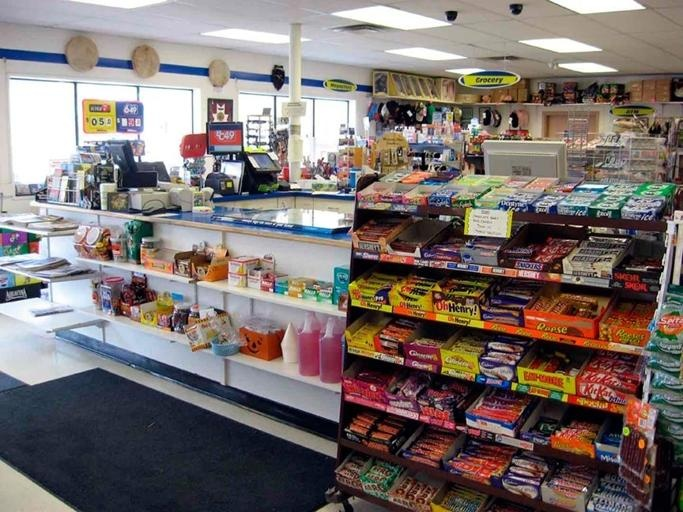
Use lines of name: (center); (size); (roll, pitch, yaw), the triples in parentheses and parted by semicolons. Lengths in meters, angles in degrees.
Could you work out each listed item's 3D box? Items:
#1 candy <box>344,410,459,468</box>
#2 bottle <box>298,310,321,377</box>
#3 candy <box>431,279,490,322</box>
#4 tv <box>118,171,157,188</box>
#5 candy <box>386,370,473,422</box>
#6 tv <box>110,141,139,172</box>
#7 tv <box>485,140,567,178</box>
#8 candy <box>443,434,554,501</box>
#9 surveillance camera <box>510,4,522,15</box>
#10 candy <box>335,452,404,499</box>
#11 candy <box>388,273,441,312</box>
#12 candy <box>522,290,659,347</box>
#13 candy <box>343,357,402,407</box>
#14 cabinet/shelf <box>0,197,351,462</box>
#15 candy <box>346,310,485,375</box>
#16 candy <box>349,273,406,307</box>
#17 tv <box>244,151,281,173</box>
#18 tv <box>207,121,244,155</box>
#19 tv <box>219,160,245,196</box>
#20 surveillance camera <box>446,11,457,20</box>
candy: (0.317, 1.046, 3.059); (0.428, 0.089, 0.266); (10, 16, 29)
bottle: (-0.224, 0.617, 3.693); (0.153, 0.377, 0.246); (0, 13, -3)
candy: (0.634, 0.234, 2.875); (0.203, 0.092, 0.279); (5, 13, 31)
tv: (-2.055, -0.752, 5.327); (0.074, 0.168, 0.405); (12, 18, 41)
candy: (0.462, 0.781, 2.974); (0.284, 0.096, 0.297); (7, 13, 34)
tv: (-2.216, -0.994, 5.384); (0.227, 0.299, 0.452); (-7, 15, -28)
tv: (1.131, -0.598, 3.311); (0.550, 0.220, 0.310); (9, 16, 32)
candy: (0.813, 1.107, 2.793); (0.370, 0.092, 0.215); (8, 27, 44)
surveillance camera: (1.956, -2.739, 5.935); (0.115, 0.076, 0.113); (-10, 14, -40)
candy: (0.151, 1.264, 3.083); (0.281, 0.076, 0.196); (8, 17, 34)
candy: (0.423, 0.199, 3.003); (0.207, 0.070, 0.202); (11, 37, 31)
candy: (1.282, 0.293, 2.736); (0.566, 0.155, 0.454); (8, 15, 29)
candy: (0.150, 0.744, 3.127); (0.232, 0.103, 0.308); (7, 10, 26)
cabinet/shelf: (-1.258, 0.410, 4.596); (3.848, 1.271, 0.606); (7, 10, 29)
candy: (0.459, 0.485, 3.029); (0.768, 0.167, 0.268); (8, 34, 35)
candy: (0.183, 0.193, 3.122); (0.186, 0.081, 0.246); (7, 18, 27)
tv: (-1.061, -1.233, 7.065); (0.515, 0.252, 0.387); (-10, 17, -37)
tv: (-1.556, -1.523, 6.972); (0.449, 0.342, 0.154); (-8, 18, -39)
tv: (-1.410, -1.012, 6.859); (0.207, 0.390, 0.491); (-7, 15, -29)
surveillance camera: (1.312, -2.860, 6.363); (0.107, 0.087, 0.108); (2, 3, 18)
